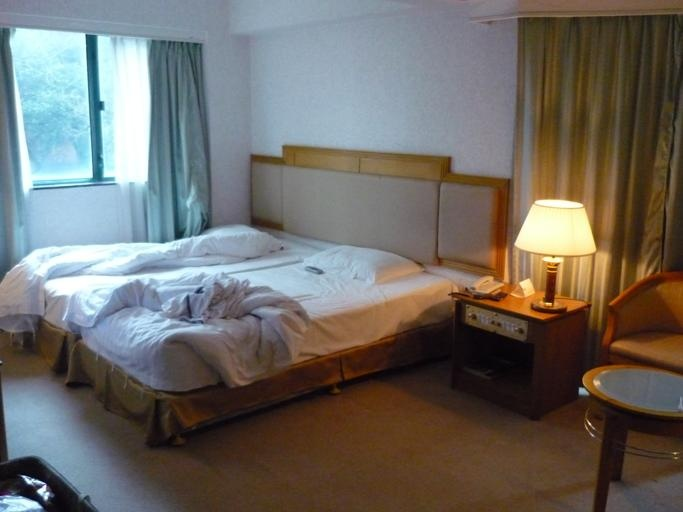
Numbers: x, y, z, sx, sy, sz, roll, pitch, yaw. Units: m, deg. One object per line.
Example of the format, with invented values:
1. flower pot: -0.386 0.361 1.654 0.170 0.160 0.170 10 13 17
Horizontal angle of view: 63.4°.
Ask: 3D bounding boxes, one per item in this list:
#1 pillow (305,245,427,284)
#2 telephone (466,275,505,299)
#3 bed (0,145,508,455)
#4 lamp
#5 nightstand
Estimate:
1. pillow: 0.132 0.056 4.621 0.436 0.124 0.672 -10 16 -40
2. telephone: 1.048 0.229 3.978 0.154 0.066 0.214 10 19 41
3. bed: -0.860 0.026 4.587 3.143 1.622 3.151 -14 19 -35
4. lamp: 1.419 -0.018 3.737 0.482 0.682 0.476 -1 16 7
5. nightstand: 1.228 0.645 3.980 0.819 0.847 0.868 -7 11 -38
